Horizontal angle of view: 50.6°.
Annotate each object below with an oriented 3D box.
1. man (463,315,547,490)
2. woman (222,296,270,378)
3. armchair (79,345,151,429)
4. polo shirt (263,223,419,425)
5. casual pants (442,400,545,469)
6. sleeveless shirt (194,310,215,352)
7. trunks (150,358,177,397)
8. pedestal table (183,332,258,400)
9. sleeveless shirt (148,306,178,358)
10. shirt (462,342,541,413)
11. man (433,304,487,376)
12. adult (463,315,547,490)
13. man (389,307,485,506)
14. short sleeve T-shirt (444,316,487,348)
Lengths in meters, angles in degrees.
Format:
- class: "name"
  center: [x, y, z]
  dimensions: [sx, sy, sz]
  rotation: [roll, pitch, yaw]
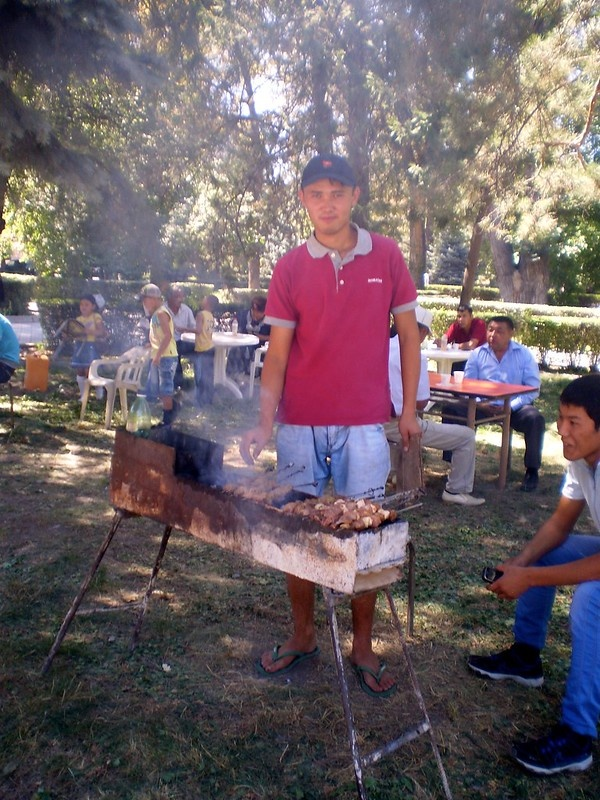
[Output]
- class: "man"
  center: [1.894, -0.032, 5.851]
  dimensions: [0.622, 1.732, 0.769]
  rotation: [-2, -10, 37]
- class: "woman"
  center: [-0.796, -0.947, 10.189]
  dimensions: [0.564, 1.561, 0.610]
  rotation: [6, -3, 38]
- class: "armchair"
  center: [-2.071, -0.154, 7.089]
  dimensions: [0.526, 1.106, 0.700]
  rotation: [7, -6, 2]
- class: "polo shirt"
  center: [0.144, -0.247, 2.246]
  dimensions: [0.524, 0.700, 0.218]
  rotation: [1, 5, -7]
- class: "casual pants"
  center: [1.864, 0.222, 5.624]
  dimensions: [0.561, 0.748, 0.649]
  rotation: [3, 6, 24]
- class: "sleeveless shirt"
  center: [-1.243, -0.913, 8.337]
  dimensions: [0.254, 0.833, 0.502]
  rotation: [-1, 11, -16]
- class: "trunks"
  center: [-1.477, -0.256, 6.787]
  dimensions: [0.245, 0.436, 0.330]
  rotation: [7, 8, 42]
- class: "pedestal table"
  center: [-1.005, -0.635, 8.980]
  dimensions: [0.719, 0.931, 0.917]
  rotation: [-6, 18, -19]
- class: "sleeveless shirt"
  center: [-1.454, -0.761, 6.728]
  dimensions: [0.281, 0.623, 0.216]
  rotation: [6, 12, 43]
- class: "shirt"
  center: [1.987, -0.288, 6.127]
  dimensions: [0.474, 1.000, 0.737]
  rotation: [2, 1, -41]
- class: "man"
  center: [2.285, -0.687, 8.743]
  dimensions: [0.419, 1.177, 0.411]
  rotation: [-6, 11, 8]
- class: "adult"
  center: [1.902, -0.017, 5.942]
  dimensions: [0.612, 1.802, 0.747]
  rotation: [-1, -9, 26]
- class: "man"
  center: [1.038, -0.074, 4.982]
  dimensions: [0.635, 1.781, 0.472]
  rotation: [-6, 17, 28]
- class: "short sleeve T-shirt"
  center: [2.332, -0.952, 8.741]
  dimensions: [0.347, 0.468, 0.506]
  rotation: [4, 18, 34]
